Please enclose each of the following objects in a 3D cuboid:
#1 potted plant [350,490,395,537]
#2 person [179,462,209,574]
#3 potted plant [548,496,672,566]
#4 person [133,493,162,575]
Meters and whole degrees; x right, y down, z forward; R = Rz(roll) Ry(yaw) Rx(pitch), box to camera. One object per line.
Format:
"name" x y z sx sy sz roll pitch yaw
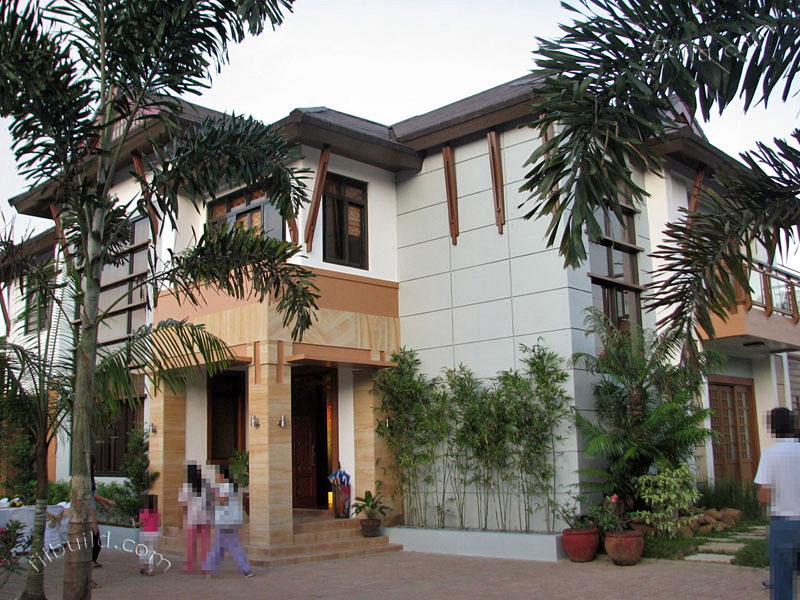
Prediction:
"potted plant" -0.595 4.374 13.450 0.743 0.892 0.601 2 -6 -8
"person" -3.145 3.379 9.969 0.453 1.805 1.189 2 -7 -16
"potted plant" 3.679 3.799 11.343 1.131 0.833 1.297 -11 -14 39
"person" -4.078 3.769 10.546 0.336 1.388 1.338 3 -7 -20
